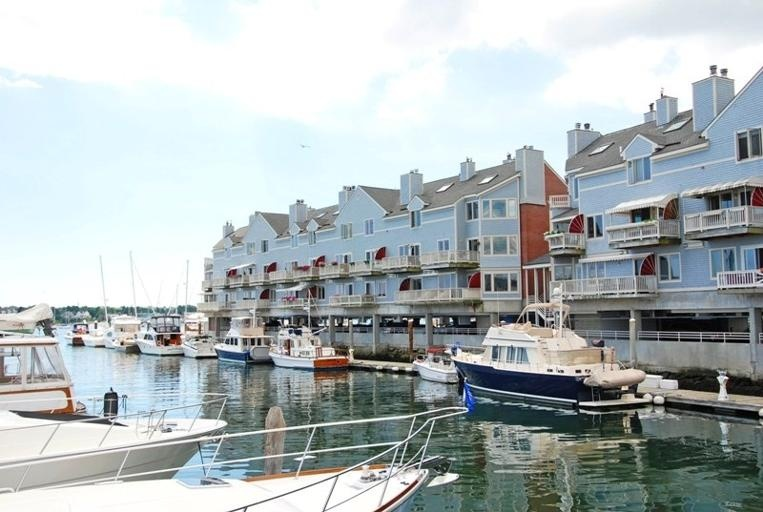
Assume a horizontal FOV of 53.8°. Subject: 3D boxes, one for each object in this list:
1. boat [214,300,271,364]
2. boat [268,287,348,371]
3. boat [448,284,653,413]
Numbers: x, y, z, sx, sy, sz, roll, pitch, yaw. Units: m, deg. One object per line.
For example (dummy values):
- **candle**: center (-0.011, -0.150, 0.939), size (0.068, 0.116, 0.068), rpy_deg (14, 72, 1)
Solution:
- **boat**: center (-11.905, 7.684, 67.657), size (2.865, 3.558, 8.445), rpy_deg (4, -4, -24)
- **boat**: center (-5.928, 7.456, 60.679), size (2.663, 3.510, 7.366), rpy_deg (1, -7, -36)
- **boat**: center (8.821, 5.275, 42.830), size (4.766, 5.648, 14.180), rpy_deg (6, -6, -28)
